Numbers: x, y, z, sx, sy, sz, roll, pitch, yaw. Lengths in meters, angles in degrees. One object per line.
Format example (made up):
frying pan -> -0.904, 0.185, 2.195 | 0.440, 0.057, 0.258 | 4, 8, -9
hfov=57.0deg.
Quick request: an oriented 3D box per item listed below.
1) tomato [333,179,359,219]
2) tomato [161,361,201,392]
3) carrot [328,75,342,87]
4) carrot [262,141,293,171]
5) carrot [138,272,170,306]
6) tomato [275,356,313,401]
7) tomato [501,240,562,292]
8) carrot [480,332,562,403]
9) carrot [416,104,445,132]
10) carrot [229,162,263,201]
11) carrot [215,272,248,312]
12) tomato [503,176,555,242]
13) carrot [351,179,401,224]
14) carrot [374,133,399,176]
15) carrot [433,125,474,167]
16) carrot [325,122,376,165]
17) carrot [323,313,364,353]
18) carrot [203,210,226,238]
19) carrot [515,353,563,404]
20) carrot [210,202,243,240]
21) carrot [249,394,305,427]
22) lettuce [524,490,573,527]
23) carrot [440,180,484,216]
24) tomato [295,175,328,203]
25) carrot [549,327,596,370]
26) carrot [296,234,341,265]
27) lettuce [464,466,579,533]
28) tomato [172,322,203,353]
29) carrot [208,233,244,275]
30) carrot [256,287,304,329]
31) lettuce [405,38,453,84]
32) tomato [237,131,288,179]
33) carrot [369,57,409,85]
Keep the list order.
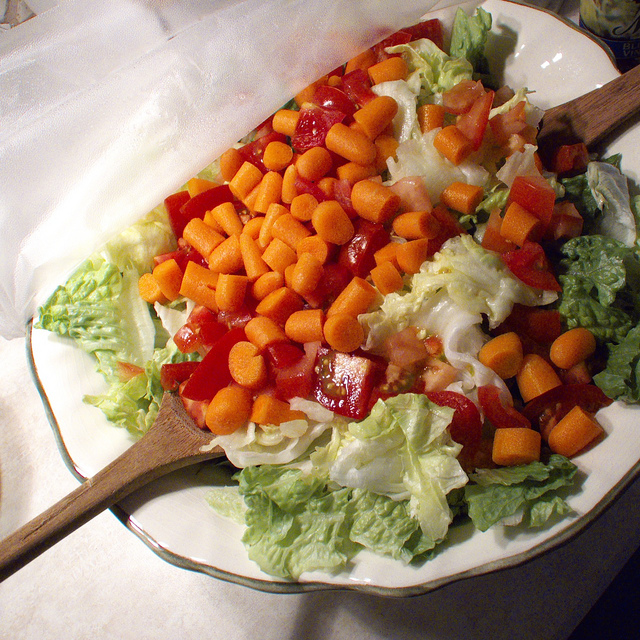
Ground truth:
tomato -> 0.064, -0.320, 1.582 | 0.054, 0.029, 0.112 | -31, 82, 34
tomato -> -0.364, 0.137, 1.533 | 0.099, 0.056, 0.023 | -43, 29, -20
carrot -> 0.043, -0.700, 1.735 | 0.033, 0.022, 0.035 | 1, 57, 12
carrot -> -0.118, -0.450, 1.621 | 0.071, 0.040, 0.076 | 11, 82, -5
carrot -> -0.490, -0.094, 1.680 | 0.023, 0.090, 0.084 | -25, 65, -33
tomato -> -0.062, 0.150, 1.452 | 0.092, 0.062, 0.091 | -32, 65, -6
tomato -> 0.526, -0.126, 1.472 | 0.140, 0.108, 0.122 | -5, 65, 7
carrot -> 0.478, 0.114, 1.451 | 0.203, 0.078, 0.123 | 43, 86, 8
carrot -> 0.311, -0.570, 1.657 | 0.075, 0.075, 0.082 | 0, 98, 19
carrot -> -0.206, -0.386, 1.638 | 0.072, 0.066, 0.111 | 38, 87, -8
carrot -> -0.228, -0.072, 1.567 | 0.083, 0.084, 0.106 | 13, 93, -27
tomato -> 0.524, -0.271, 1.468 | 0.120, 0.095, 0.181 | 20, 107, 32
carrot -> 0.144, -0.308, 1.560 | 0.090, 0.094, 0.122 | -32, 46, -29
carrot -> 0.182, -0.481, 1.658 | 0.081, 0.078, 0.046 | -21, 93, -2
carrot -> 0.360, -0.467, 1.569 | 0.091, 0.074, 0.074 | 39, 71, 24
carrot -> 0.112, -0.475, 1.569 | 0.152, 0.091, 0.092 | 10, 76, 36
carrot -> 0.057, 0.020, 1.483 | 0.119, 0.122, 0.075 | -4, 94, -22
carrot -> -0.299, -0.270, 1.645 | 0.020, 0.066, 0.066 | -41, 83, -14
carrot -> 0.514, 0.134, 1.397 | 0.064, 0.076, 0.135 | -6, 39, -11
carrot -> -0.258, -0.264, 1.652 | 0.060, 0.043, 0.115 | -34, 67, -2
carrot -> -0.109, 0.226, 1.444 | 0.104, 0.079, 0.055 | 11, 104, -24
lettuce -> 0.472, 0.397, 1.235 | 0.069, 0.020, 0.063 | -43, 37, 1
carrot -> 0.367, -0.323, 1.549 | 0.099, 0.088, 0.084 | 23, 40, 38
tomato -> -0.028, -0.350, 1.573 | 0.097, 0.024, 0.056 | 33, 74, 2
carrot -> 0.611, 0.049, 1.425 | 0.100, 0.066, 0.062 | 15, 97, 1
carrot -> -0.015, -0.167, 1.555 | 0.082, 0.103, 0.087 | -42, 74, 23
lettuce -> 0.428, 0.367, 1.285 | 0.194, 0.065, 0.142 | -22, 31, -9
tomato -> -0.353, 0.045, 1.561 | 0.073, 0.045, 0.078 | 4, 93, 12
carrot -> -0.247, -0.164, 1.563 | 0.099, 0.078, 0.084 | -27, 87, 2
carrot -> -0.101, -0.034, 1.551 | 0.101, 0.090, 0.100 | -47, 45, 4
lettuce -> 0.331, -0.806, 1.835 | 0.139, 0.057, 0.135 | 36, 73, 13
tomato -> -0.159, -0.485, 1.726 | 0.143, 0.051, 0.151 | 20, 80, 27
carrot -> 0.199, -0.726, 1.725 | 0.104, 0.061, 0.064 | -21, 69, -5
